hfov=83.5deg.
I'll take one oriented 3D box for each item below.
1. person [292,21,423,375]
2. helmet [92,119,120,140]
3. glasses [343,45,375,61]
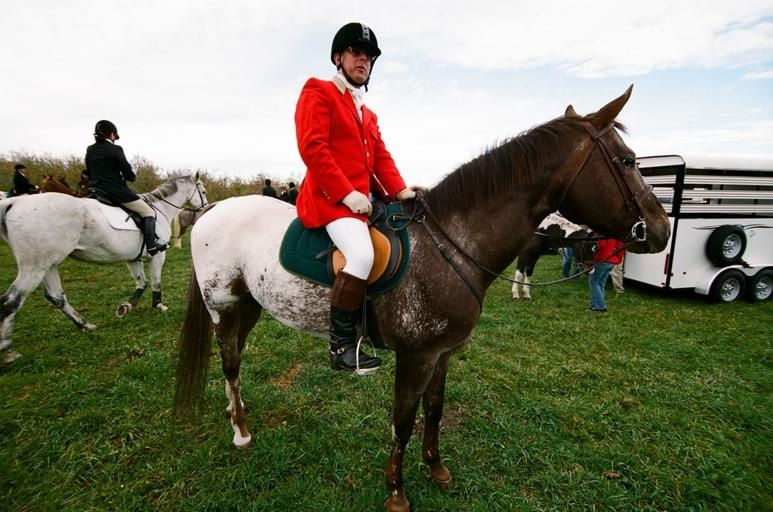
[{"bbox_3d":[-0.444,-0.664,4.797,1.169,3.653,1.226,2,14,1],"label":"person"},{"bbox_3d":[-4.969,-2.224,7.694,0.311,0.332,0.483,-8,17,-35],"label":"helmet"},{"bbox_3d":[-0.283,-2.229,4.781,0.181,0.053,0.181,10,-6,-17],"label":"glasses"}]
